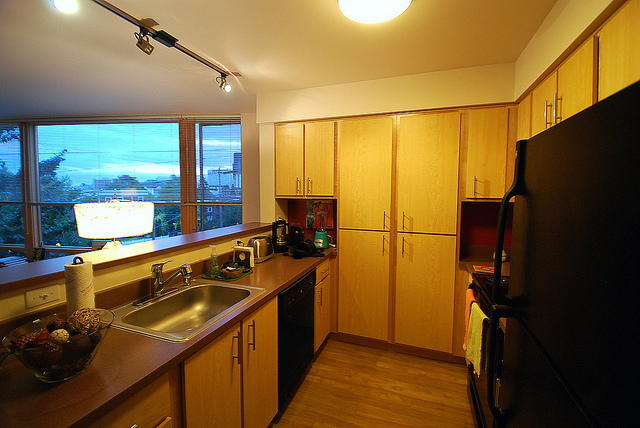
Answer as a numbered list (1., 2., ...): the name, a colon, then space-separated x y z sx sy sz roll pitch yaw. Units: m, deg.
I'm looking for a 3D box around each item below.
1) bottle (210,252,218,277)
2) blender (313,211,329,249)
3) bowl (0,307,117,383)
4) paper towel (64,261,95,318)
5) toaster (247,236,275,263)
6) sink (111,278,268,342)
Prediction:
1. bottle: -0.852 0.403 3.541 0.061 0.182 0.101 -4 5 -13
2. blender: 0.020 0.165 4.589 0.158 0.363 0.453 -3 5 1
3. bowl: -1.439 0.716 2.449 0.433 0.235 0.475 -2 -2 0
4. paper towel: -1.471 0.457 2.712 0.154 0.318 0.114 -5 5 -27
5. toaster: -0.532 0.316 4.045 0.158 0.215 0.297 4 7 28
6. sink: -0.853 0.683 3.181 0.440 0.165 0.559 4 9 23
